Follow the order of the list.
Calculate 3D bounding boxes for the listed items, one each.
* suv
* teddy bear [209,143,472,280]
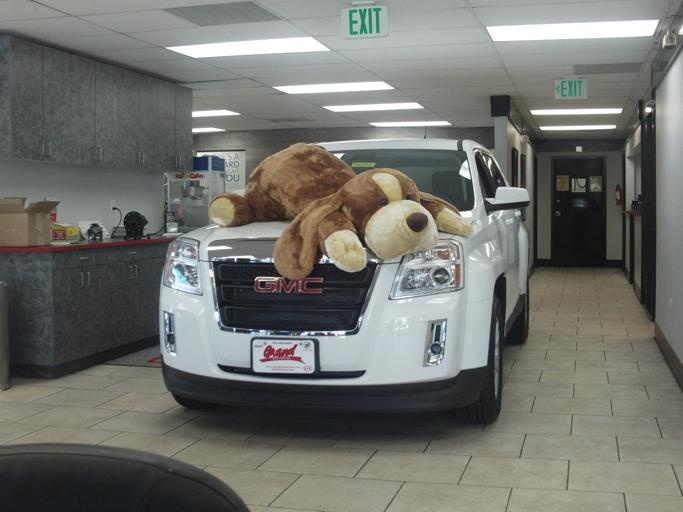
[{"bbox_3d":[0.393,0.090,4.266,1.849,1.222,3.010,-1,-1,16],"label":"suv"},{"bbox_3d":[-0.068,-0.288,2.929,1.106,0.403,1.161,-15,19,-41],"label":"teddy bear"}]
